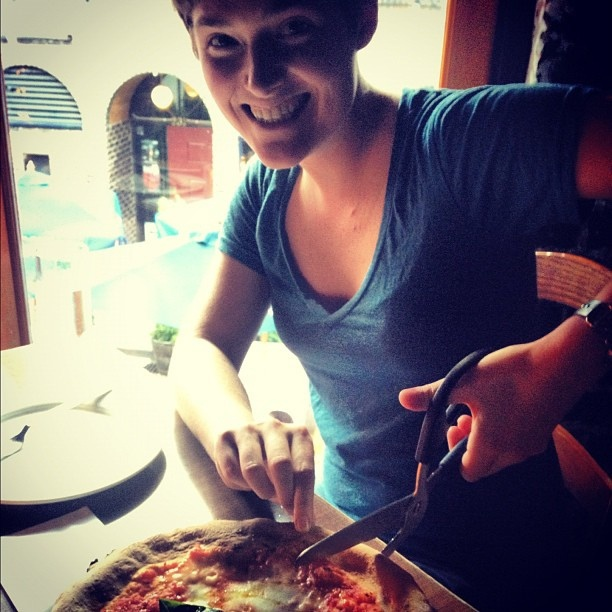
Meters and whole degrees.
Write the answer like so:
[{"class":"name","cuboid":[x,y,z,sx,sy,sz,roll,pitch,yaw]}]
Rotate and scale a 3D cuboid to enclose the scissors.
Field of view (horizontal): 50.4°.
[{"class":"scissors","cuboid":[0.159,0.273,1.137,0.203,0.522,0.036,29,12,-40]}]
